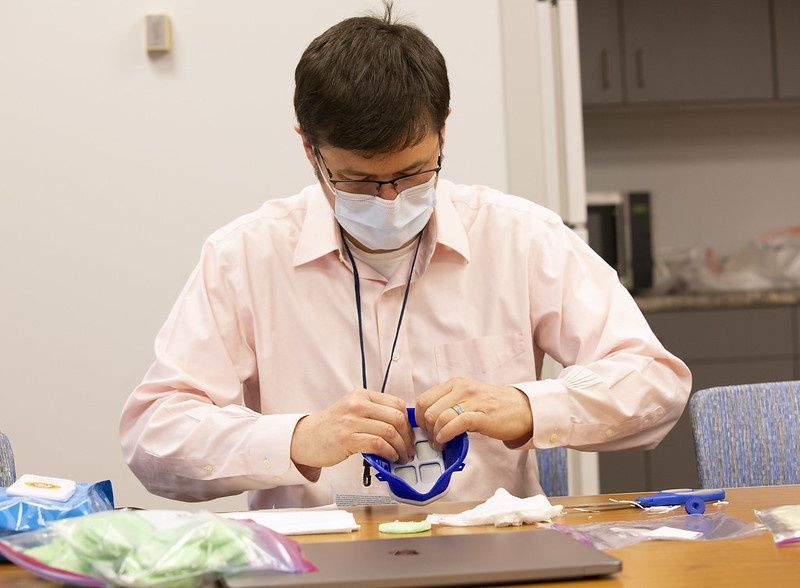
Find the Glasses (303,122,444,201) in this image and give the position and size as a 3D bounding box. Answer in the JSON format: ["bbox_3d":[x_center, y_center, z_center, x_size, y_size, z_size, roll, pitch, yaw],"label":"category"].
[{"bbox_3d":[-0.061,-0.297,2.067,0.310,0.153,0.180,-4,-3,2],"label":"Glasses"}]

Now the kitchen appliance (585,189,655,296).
[{"bbox_3d":[0.856,-0.211,3.611,0.323,0.430,0.321,0,14,29],"label":"kitchen appliance"}]

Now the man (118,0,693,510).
[{"bbox_3d":[-0.036,-0.113,2.149,1.338,1.180,0.598,-3,-3,-13],"label":"man"}]

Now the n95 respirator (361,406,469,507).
[{"bbox_3d":[0.047,0.365,1.904,0.230,0.107,0.221,-17,40,-21],"label":"n95 respirator"}]

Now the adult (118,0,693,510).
[{"bbox_3d":[-0.037,-0.113,2.148,1.336,1.180,0.598,-3,-3,-13],"label":"adult"}]
